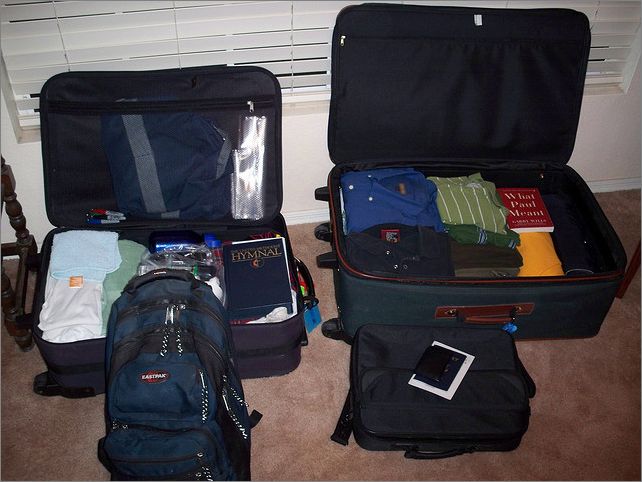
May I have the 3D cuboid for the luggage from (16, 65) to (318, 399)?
[{"bbox_3d":[-0.651,-0.035,2.468,1.163,1.096,0.898,-5,40,-16],"label":"luggage"}]

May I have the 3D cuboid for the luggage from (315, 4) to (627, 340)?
[{"bbox_3d":[0.636,-0.108,3.078,1.729,1.644,1.384,1,58,1],"label":"luggage"}]
